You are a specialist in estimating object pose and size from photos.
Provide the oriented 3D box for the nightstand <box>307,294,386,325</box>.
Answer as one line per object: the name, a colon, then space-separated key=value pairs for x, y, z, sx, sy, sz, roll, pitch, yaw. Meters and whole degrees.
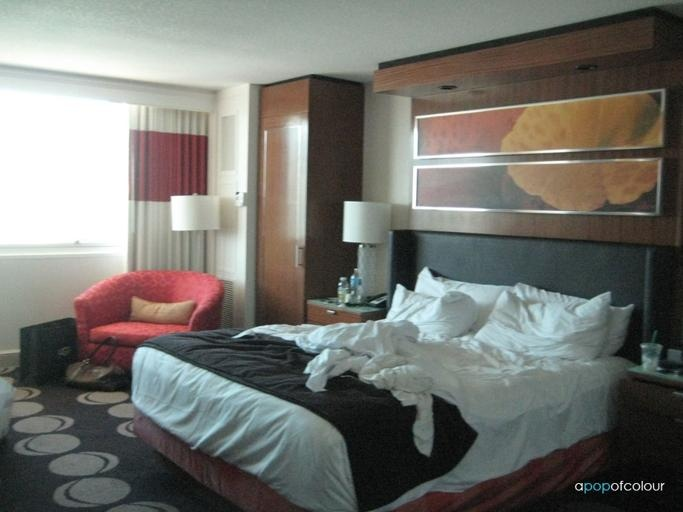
nightstand: x=0.061 y=0.536 z=5.371 sx=0.325 sy=0.315 sz=0.557 roll=-2 pitch=3 yaw=-34

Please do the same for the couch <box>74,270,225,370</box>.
couch: x=-1.911 y=0.545 z=5.848 sx=1.580 sy=0.891 sz=1.071 roll=0 pitch=-5 yaw=2

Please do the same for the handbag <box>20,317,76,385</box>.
handbag: x=-2.860 y=0.938 z=5.449 sx=0.255 sy=0.527 sz=0.654 roll=-3 pitch=-4 yaw=7

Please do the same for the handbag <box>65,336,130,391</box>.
handbag: x=-2.283 y=1.016 z=5.249 sx=0.563 sy=0.372 sz=0.259 roll=3 pitch=-18 yaw=8

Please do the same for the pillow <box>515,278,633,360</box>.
pillow: x=1.753 y=0.434 z=3.910 sx=0.556 sy=0.454 sz=0.167 roll=11 pitch=-10 yaw=42

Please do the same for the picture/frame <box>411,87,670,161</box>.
picture/frame: x=1.510 y=-1.007 z=4.450 sx=2.059 sy=0.335 sz=0.057 roll=1 pitch=10 yaw=27

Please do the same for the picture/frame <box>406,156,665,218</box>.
picture/frame: x=1.486 y=-0.553 z=4.608 sx=0.082 sy=0.380 sz=2.188 roll=-5 pitch=8 yaw=-40

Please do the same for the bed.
bed: x=0.620 y=0.418 z=3.637 sx=2.584 sy=0.924 sz=2.387 roll=-3 pitch=5 yaw=-33

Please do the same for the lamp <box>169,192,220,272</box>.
lamp: x=-1.627 y=-0.437 z=6.145 sx=0.602 sy=0.713 sz=0.494 roll=-4 pitch=10 yaw=-18
